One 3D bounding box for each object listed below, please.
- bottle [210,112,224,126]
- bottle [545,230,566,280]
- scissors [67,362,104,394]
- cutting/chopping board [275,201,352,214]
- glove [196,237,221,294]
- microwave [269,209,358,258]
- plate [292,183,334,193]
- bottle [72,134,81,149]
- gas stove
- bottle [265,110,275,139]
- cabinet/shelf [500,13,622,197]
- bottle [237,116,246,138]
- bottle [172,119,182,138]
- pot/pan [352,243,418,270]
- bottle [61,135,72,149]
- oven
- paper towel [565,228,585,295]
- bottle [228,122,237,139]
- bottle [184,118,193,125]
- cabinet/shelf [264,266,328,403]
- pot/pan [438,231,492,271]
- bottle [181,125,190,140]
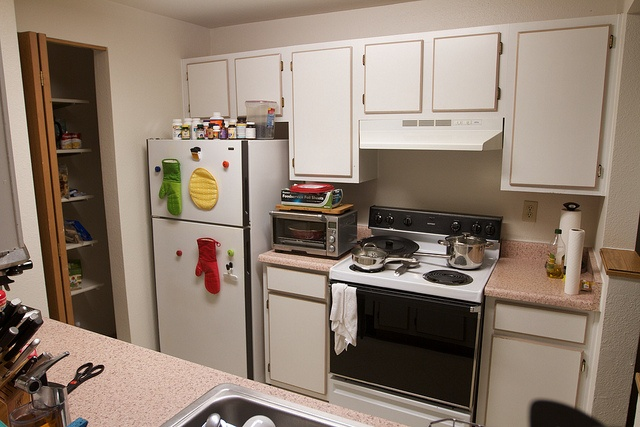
[{"bbox_3d":[-0.773,-0.721,3.464,0.108,0.107,0.114,4,13,19],"label":"bottle"},{"bbox_3d":[1.539,0.271,2.942,0.099,0.281,0.117,2,13,11],"label":"bottle"},{"bbox_3d":[-1.016,0.717,1.962,0.104,0.015,0.190,-4,12,8],"label":"scissors"},{"bbox_3d":[-0.044,-0.036,3.312,0.556,0.056,0.201,-1,12,-2],"label":"cutting/chopping board"},{"bbox_3d":[-0.855,0.403,3.467,0.207,0.440,0.062,6,14,25],"label":"glove"},{"bbox_3d":[-0.049,0.148,3.296,0.506,0.302,0.391,2,4,26],"label":"microwave"},{"bbox_3d":[-0.033,-0.196,3.390,0.322,0.052,0.267,4,13,19],"label":"plate"},{"bbox_3d":[-1.952,-0.585,3.613,0.054,0.114,0.165,-5,13,-20],"label":"bottle"},{"bbox_3d":[0.652,0.286,3.083,0.786,0.109,0.457,0,11,23],"label":"gas stove"},{"bbox_3d":[-0.383,-0.693,3.475,0.065,0.231,0.041,-2,13,-6],"label":"bottle"},{"bbox_3d":[1.701,-0.695,3.025,0.745,1.112,0.700,5,17,28],"label":"cabinet/shelf"},{"bbox_3d":[-0.612,-0.680,3.545,0.075,0.165,0.371,-3,13,-10],"label":"bottle"},{"bbox_3d":[-1.104,-0.659,3.523,0.066,0.149,0.155,-2,13,-8],"label":"bottle"},{"bbox_3d":[0.433,0.291,3.149,0.449,0.137,0.262,-4,13,-17],"label":"pot/pan"},{"bbox_3d":[-1.971,-0.569,3.527,0.089,0.117,0.079,-11,17,-40],"label":"bottle"},{"bbox_3d":[0.699,0.892,3.184,1.092,0.957,0.788,2,-7,30],"label":"oven"},{"bbox_3d":[1.548,0.284,2.744,0.091,0.375,0.195,7,15,30],"label":"paper towel"},{"bbox_3d":[-0.656,-0.622,3.386,0.068,0.119,0.032,-2,13,-6],"label":"bottle"},{"bbox_3d":[-1.048,-0.731,3.571,0.068,0.047,0.205,-4,13,-16],"label":"bottle"},{"bbox_3d":[-0.045,0.834,3.535,0.612,0.989,0.573,3,8,23],"label":"cabinet/shelf"},{"bbox_3d":[0.995,0.255,3.068,0.305,0.214,0.195,-5,14,-21],"label":"pot/pan"},{"bbox_3d":[-1.042,-0.634,3.499,0.068,0.105,0.030,-3,13,-12],"label":"bottle"}]
